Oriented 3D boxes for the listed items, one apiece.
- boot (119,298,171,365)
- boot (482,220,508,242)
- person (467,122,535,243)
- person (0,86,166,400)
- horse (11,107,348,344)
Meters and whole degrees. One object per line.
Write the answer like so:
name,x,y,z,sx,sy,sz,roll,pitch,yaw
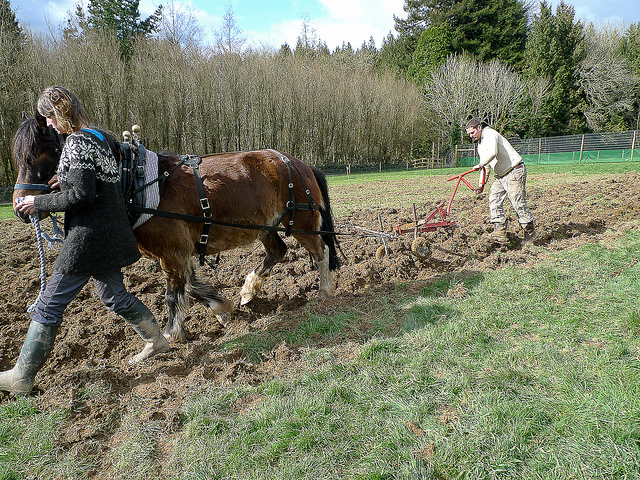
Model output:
boot,-1.900,0.964,6.068,0.460,0.756,0.362,-8,11,-18
boot,2.972,-0.157,9.457,0.482,0.385,0.223,15,6,18
person,3.055,-0.990,9.394,0.990,2.003,0.656,-1,10,17
person,-2.513,-0.018,5.798,1.455,3.031,0.774,-5,10,-5
horse,-1.519,-0.158,7.007,3.927,2.993,0.975,-4,14,-27
